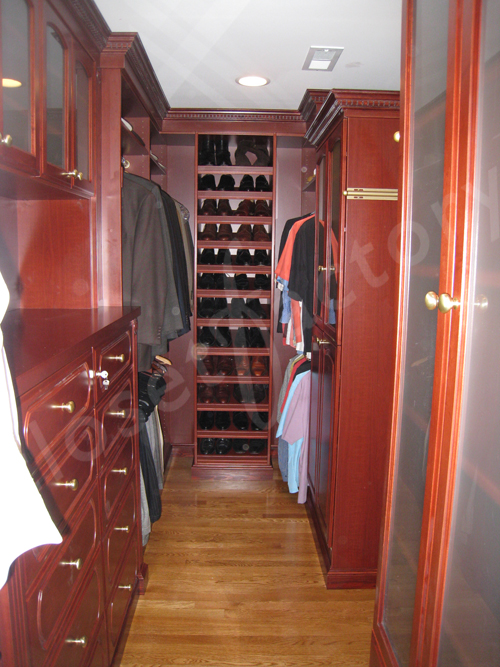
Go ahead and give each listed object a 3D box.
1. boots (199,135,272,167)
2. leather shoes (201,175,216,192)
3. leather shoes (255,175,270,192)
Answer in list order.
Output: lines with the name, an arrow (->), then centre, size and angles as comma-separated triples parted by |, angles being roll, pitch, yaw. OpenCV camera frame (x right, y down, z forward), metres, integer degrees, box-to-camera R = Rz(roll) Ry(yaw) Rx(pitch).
boots -> -0.085, -1.103, 3.011 | 0.240, 0.097, 0.183 | 0, -6, 1
leather shoes -> -0.256, -0.914, 2.997 | 0.070, 0.052, 0.144 | -2, 45, 0
leather shoes -> 0.079, -0.905, 3.005 | 0.094, 0.118, 0.141 | 1, 6, 0
